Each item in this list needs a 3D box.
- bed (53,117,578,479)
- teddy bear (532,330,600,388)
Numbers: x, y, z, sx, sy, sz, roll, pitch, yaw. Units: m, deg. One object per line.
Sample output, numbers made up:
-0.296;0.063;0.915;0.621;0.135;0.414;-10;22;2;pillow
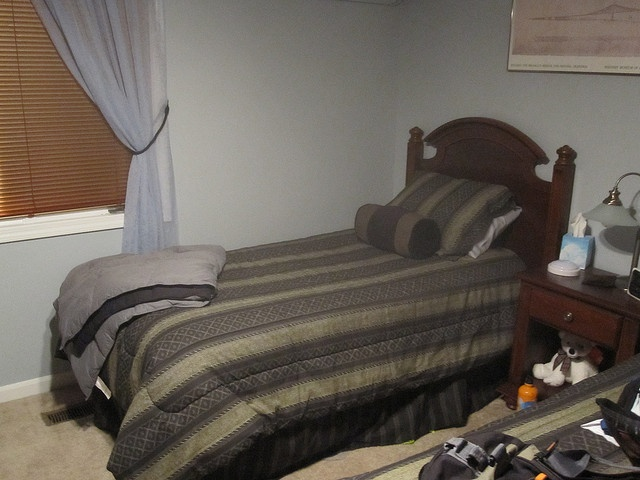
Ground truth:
0.028;0.325;3.051;2.665;1.655;1.808;-8;22;-24;bed
1.414;0.653;2.772;0.320;0.355;0.280;13;23;35;teddy bear
